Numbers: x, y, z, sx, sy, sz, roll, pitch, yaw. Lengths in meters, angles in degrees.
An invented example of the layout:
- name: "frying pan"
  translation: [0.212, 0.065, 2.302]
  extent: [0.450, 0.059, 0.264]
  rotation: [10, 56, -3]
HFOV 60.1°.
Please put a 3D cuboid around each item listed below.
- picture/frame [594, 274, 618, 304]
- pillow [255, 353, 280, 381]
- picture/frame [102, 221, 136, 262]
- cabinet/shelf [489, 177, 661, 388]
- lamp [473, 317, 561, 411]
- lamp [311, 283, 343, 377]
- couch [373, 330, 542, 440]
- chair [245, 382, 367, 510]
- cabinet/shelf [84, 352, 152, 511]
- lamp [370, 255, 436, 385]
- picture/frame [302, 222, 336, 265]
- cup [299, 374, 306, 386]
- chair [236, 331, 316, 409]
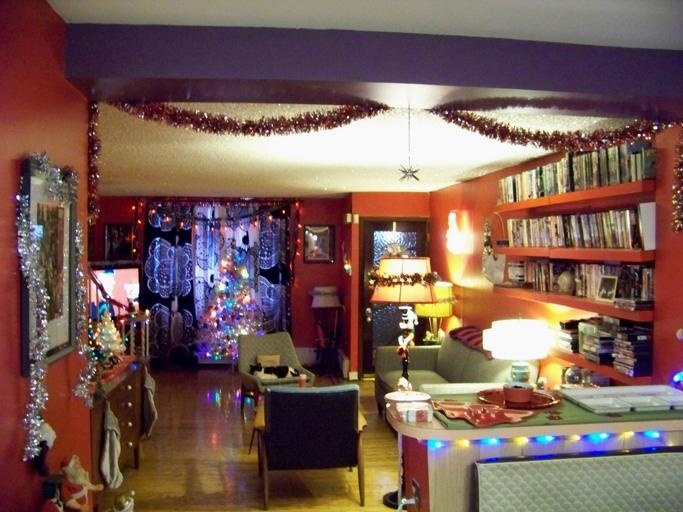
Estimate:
- name: "picture/frame"
  translation: [1.947, 0.252, 4.340]
  extent: [0.013, 0.210, 0.200]
  rotation: [7, 1, -13]
- name: "pillow"
  translation: [-0.867, 1.335, 7.029]
  extent: [0.226, 0.235, 0.207]
  rotation: [2, -8, -14]
- name: "picture/frame"
  translation: [-3.540, -0.218, 9.360]
  extent: [0.582, 0.842, 0.080]
  rotation: [-1, 0, -32]
- name: "cabinet/shelf"
  translation: [1.699, 0.284, 5.047]
  extent: [0.193, 0.760, 1.237]
  rotation: [-16, 35, -15]
- name: "lamp"
  translation: [1.208, 0.700, 4.157]
  extent: [0.509, 0.850, 0.532]
  rotation: [0, 3, -4]
- name: "lamp"
  translation: [-0.224, 1.158, 9.354]
  extent: [0.495, 1.316, 0.680]
  rotation: [0, 2, -3]
- name: "couch"
  translation: [1.096, 1.416, 6.132]
  extent: [1.050, 1.236, 2.358]
  rotation: [3, -1, -8]
- name: "chair"
  translation: [-0.265, 1.535, 5.177]
  extent: [0.872, 0.931, 0.952]
  rotation: [0, 1, -3]
- name: "cabinet/shelf"
  translation: [-1.804, 1.442, 4.747]
  extent: [0.385, 0.793, 1.357]
  rotation: [-2, 4, -10]
- name: "lamp"
  translation: [0.561, 0.627, 5.273]
  extent: [0.589, 1.342, 0.611]
  rotation: [10, 17, 42]
- name: "picture/frame"
  translation: [-0.402, -0.200, 9.697]
  extent: [0.633, 0.783, 0.098]
  rotation: [0, -2, -8]
- name: "cup"
  translation: [-0.384, 1.268, 5.956]
  extent: [0.082, 0.154, 0.147]
  rotation: [0, -5, -1]
- name: "chair"
  translation: [-0.823, 1.434, 7.148]
  extent: [0.831, 0.979, 0.880]
  rotation: [2, -6, -26]
